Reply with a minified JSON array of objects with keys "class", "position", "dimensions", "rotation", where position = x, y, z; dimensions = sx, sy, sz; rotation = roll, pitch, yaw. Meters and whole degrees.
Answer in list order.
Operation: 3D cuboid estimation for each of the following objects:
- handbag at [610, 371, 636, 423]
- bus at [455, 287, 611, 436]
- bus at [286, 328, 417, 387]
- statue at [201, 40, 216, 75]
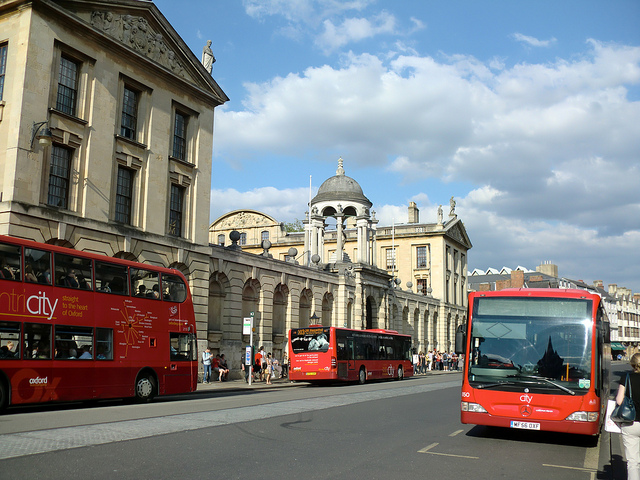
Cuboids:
[{"class":"handbag","position":[5.712,2.985,13.190],"dimensions":[0.404,0.941,0.371],"rotation":[1,-5,4]},{"class":"bus","position":[5.326,2.964,17.282],"dimensions":[2.221,2.477,5.194],"rotation":[-3,-14,20]},{"class":"bus","position":[2.334,6.584,40.742],"dimensions":[2.906,3.022,10.442],"rotation":[-5,-10,31]},{"class":"statue","position":[-5.846,-9.701,36.945],"dimensions":[0.603,2.262,2.496],"rotation":[2,-6,-10]}]
